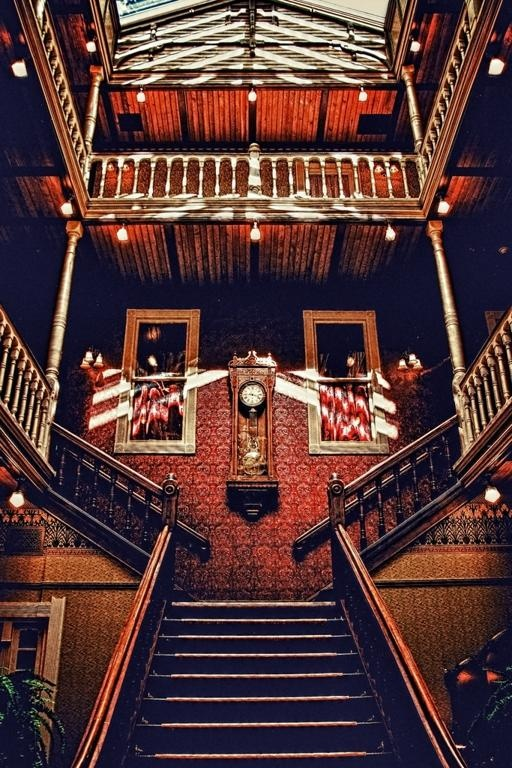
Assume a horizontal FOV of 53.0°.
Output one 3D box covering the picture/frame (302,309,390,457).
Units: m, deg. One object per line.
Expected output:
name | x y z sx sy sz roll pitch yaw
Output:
picture/frame | 1.338 -0.061 7.983 1.107 2.256 0.136 0 -19 -2
